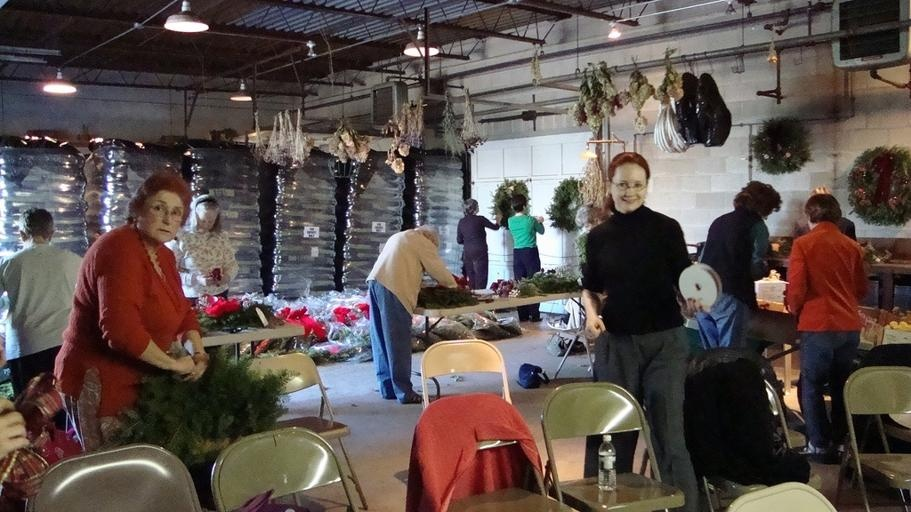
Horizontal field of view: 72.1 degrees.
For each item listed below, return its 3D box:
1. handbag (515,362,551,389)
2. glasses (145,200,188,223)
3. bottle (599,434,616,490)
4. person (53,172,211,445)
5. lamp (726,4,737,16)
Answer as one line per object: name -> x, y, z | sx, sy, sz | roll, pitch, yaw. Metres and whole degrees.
handbag -> 1.079, 1.674, 8.779 | 0.390, 0.144, 0.300 | 2, 0, -39
glasses -> -2.340, -0.386, 5.065 | 0.190, 0.104, 0.232 | 5, -19, -31
bottle -> 1.255, 1.671, 5.185 | 0.144, 0.461, 0.249 | -1, 3, 14
person -> -2.597, 0.412, 5.023 | 1.069, 2.193, 0.568 | -3, 3, -31
lamp -> 4.776, -4.307, 10.878 | 0.182, 0.167, 0.171 | 0, 0, 13
